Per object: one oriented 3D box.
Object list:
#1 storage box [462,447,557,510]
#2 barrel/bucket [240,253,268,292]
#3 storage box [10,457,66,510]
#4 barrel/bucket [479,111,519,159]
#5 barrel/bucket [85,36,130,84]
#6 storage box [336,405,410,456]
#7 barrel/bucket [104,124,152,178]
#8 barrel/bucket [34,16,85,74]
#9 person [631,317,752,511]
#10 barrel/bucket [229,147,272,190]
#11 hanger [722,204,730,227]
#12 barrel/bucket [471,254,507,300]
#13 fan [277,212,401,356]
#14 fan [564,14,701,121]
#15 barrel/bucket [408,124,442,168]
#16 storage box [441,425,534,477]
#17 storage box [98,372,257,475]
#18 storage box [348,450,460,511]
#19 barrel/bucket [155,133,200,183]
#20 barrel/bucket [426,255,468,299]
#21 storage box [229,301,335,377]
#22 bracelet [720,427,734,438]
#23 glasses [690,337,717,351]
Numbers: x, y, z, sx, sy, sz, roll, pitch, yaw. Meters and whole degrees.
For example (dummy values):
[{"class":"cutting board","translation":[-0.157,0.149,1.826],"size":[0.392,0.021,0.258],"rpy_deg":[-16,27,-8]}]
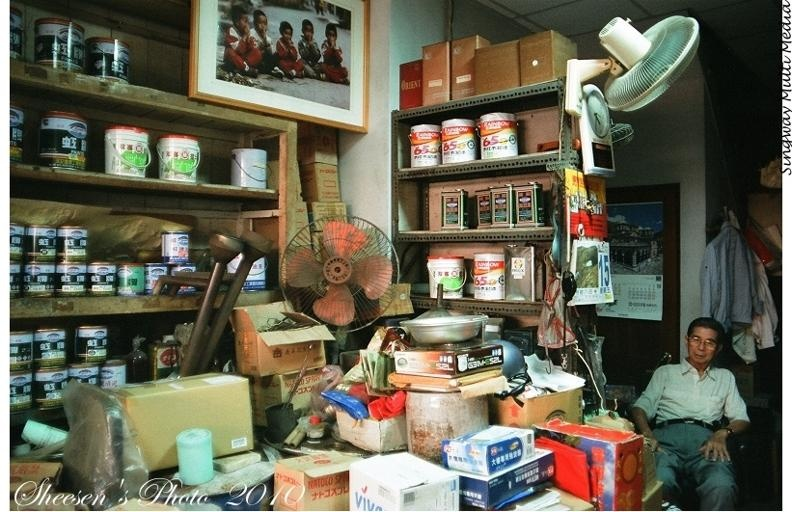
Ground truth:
[{"class":"storage box","translation":[0.509,0.996,2.791],"size":[0.475,0.194,0.121],"rpy_deg":[-1,-1,-29]},{"class":"barrel/bucket","translation":[-0.810,0.093,3.641],"size":[0.183,0.187,0.199],"rpy_deg":[7,-11,1]},{"class":"storage box","translation":[-1.520,0.974,2.666],"size":[0.291,0.180,0.165],"rpy_deg":[-1,-1,-10]},{"class":"barrel/bucket","translation":[0.597,-0.750,3.960],"size":[0.294,0.294,0.277],"rpy_deg":[-1,-6,0]},{"class":"barrel/bucket","translation":[-1.495,-1.024,3.278],"size":[0.248,0.244,0.234],"rpy_deg":[0,3,0]},{"class":"storage box","translation":[-0.099,0.796,3.014],"size":[0.215,0.133,0.278],"rpy_deg":[-4,6,-43]},{"class":"barrel/bucket","translation":[-1.414,-0.536,3.328],"size":[0.268,0.256,0.287],"rpy_deg":[0,-1,0]},{"class":"barrel/bucket","translation":[-1.694,-1.063,3.231],"size":[0.290,0.287,0.276],"rpy_deg":[0,2,0]},{"class":"person","translation":[2.006,1.055,4.270],"size":[0.739,1.220,0.697],"rpy_deg":[-2,-1,19]},{"class":"barrel/bucket","translation":[-0.857,-0.504,3.698],"size":[0.256,0.223,0.238],"rpy_deg":[0,-2,0]},{"class":"hanger","translation":[2.785,-0.362,5.300],"size":[0.035,0.161,0.096],"rpy_deg":[-2,-1,2]},{"class":"barrel/bucket","translation":[0.578,0.125,3.890],"size":[0.278,0.277,0.261],"rpy_deg":[0,-7,0]},{"class":"fan","translation":[-0.332,0.088,3.712],"size":[0.703,0.635,0.291],"rpy_deg":[1,-3,0]},{"class":"fan","translation":[1.323,-1.067,3.541],"size":[0.639,0.685,0.597],"rpy_deg":[17,2,12]},{"class":"barrel/bucket","translation":[0.183,-0.726,4.122],"size":[0.224,0.281,0.168],"rpy_deg":[-2,-1,12]},{"class":"storage box","translation":[0.384,0.858,2.770],"size":[0.282,0.091,0.199],"rpy_deg":[1,-5,-44]},{"class":"storage box","translation":[-0.947,0.740,2.892],"size":[0.721,0.418,0.366],"rpy_deg":[-4,39,-20]},{"class":"storage box","translation":[0.033,0.895,2.675],"size":[0.263,0.213,0.347],"rpy_deg":[-2,1,-39]},{"class":"barrel/bucket","translation":[-1.172,-0.528,3.430],"size":[0.271,0.240,0.253],"rpy_deg":[0,-2,0]},{"class":"barrel/bucket","translation":[0.331,0.130,4.020],"size":[0.290,0.245,0.259],"rpy_deg":[1,-5,-4]},{"class":"storage box","translation":[-0.623,0.422,3.412],"size":[0.457,0.290,0.437],"rpy_deg":[-4,6,-44]},{"class":"bracelet","translation":[2.219,1.177,4.188],"size":[0.045,0.065,0.058],"rpy_deg":[-39,-28,-24]},{"class":"glasses","translation":[2.186,0.621,4.464],"size":[0.119,0.049,0.136],"rpy_deg":[4,-28,25]}]
